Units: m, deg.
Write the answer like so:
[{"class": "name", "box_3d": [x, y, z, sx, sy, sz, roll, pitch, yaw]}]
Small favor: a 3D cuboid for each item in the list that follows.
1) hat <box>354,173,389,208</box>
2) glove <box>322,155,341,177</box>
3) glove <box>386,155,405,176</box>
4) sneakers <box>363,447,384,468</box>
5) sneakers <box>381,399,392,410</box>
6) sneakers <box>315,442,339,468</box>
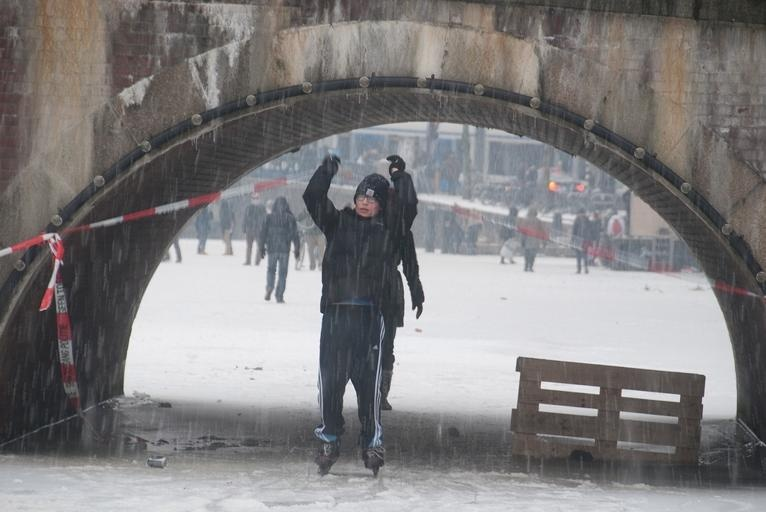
[{"class": "hat", "box_3d": [-0.040, -0.789, 20.290, 0.384, 0.388, 0.302, 13, 0, 31]}, {"class": "glove", "box_3d": [-0.590, -1.063, 20.193, 0.166, 0.249, 0.100, -7, 8, -25]}, {"class": "glove", "box_3d": [0.145, -1.072, 20.291, 0.216, 0.237, 0.180, -3, 9, -5]}, {"class": "sneakers", "box_3d": [-0.095, 2.160, 19.896, 0.202, 0.206, 0.209, -1, -9, 5]}, {"class": "sneakers", "box_3d": [0.044, 1.753, 22.156, 0.120, 0.131, 0.126, -3, -9, 2]}, {"class": "sneakers", "box_3d": [-0.605, 2.116, 19.980, 0.210, 0.320, 0.117, 8, 0, 14]}]
